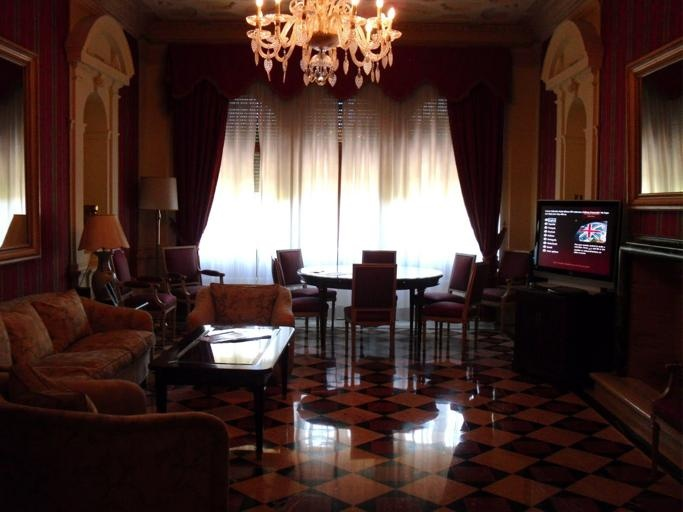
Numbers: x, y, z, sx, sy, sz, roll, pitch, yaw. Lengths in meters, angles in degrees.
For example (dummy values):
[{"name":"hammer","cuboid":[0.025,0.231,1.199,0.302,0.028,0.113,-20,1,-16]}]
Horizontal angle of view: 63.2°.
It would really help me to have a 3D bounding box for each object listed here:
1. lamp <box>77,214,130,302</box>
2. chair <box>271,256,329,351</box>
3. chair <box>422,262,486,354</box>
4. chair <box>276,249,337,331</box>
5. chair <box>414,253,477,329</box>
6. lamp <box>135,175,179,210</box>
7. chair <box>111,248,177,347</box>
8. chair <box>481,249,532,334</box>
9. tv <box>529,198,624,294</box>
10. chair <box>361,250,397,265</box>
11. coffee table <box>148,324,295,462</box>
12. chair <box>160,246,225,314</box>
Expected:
[{"name":"lamp","cuboid":[-2.566,0.036,5.996,0.429,0.900,0.457,-4,0,40]},{"name":"chair","cuboid":[-0.453,0.537,7.325,0.686,1.255,0.732,-2,3,17]},{"name":"chair","cuboid":[1.362,0.548,6.657,0.680,1.015,0.599,3,0,40]},{"name":"chair","cuboid":[-0.474,0.503,7.470,0.668,1.132,0.625,1,6,42]},{"name":"chair","cuboid":[1.288,0.585,7.006,0.719,1.227,0.688,1,9,2]},{"name":"lamp","cuboid":[-2.542,-0.847,7.767,0.610,0.515,0.614,1,2,-37]},{"name":"chair","cuboid":[-2.350,0.464,6.703,0.727,1.155,0.717,-1,4,14]},{"name":"chair","cuboid":[2.209,0.436,7.614,0.641,1.061,0.625,-1,4,-40]},{"name":"tv","cuboid":[2.441,-0.093,5.691,0.292,0.854,0.927,2,0,-25]},{"name":"chair","cuboid":[0.518,0.010,7.606,0.436,0.152,0.127,0,7,-6]},{"name":"coffee table","cuboid":[-0.933,0.865,4.308,0.698,0.571,1.178,0,6,1]},{"name":"chair","cuboid":[-1.938,0.407,7.394,0.748,1.111,0.704,-3,1,-37]}]
